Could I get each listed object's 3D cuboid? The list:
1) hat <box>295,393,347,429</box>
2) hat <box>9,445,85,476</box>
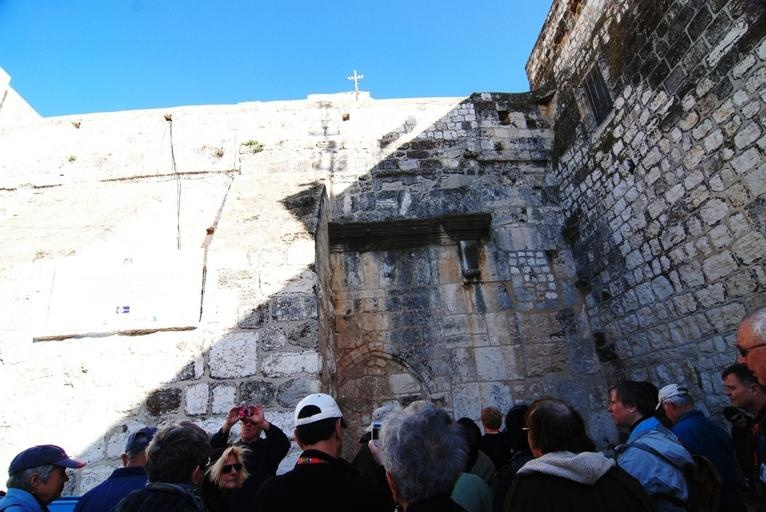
[{"bbox_3d":[-0.475,1.139,3.570,0.317,0.226,0.434,-17,2,1],"label":"hat"},{"bbox_3d":[-2.538,1.491,3.608,0.436,0.182,0.277,8,-20,-26],"label":"hat"}]
